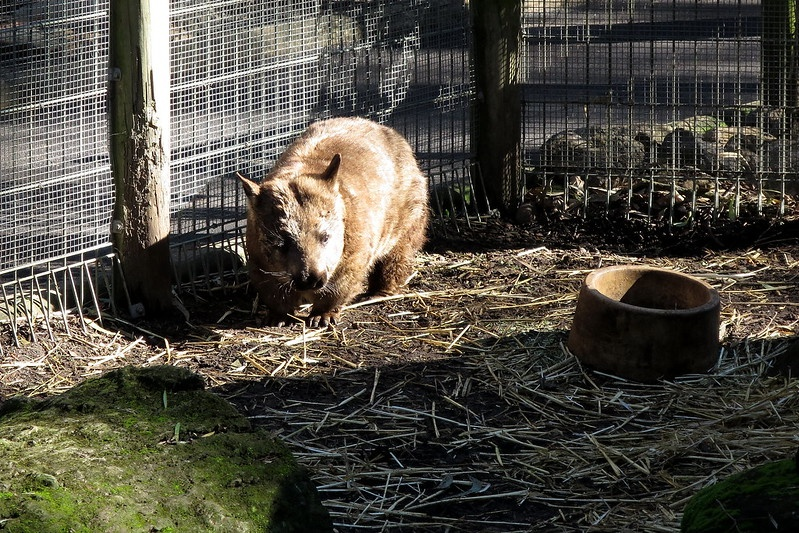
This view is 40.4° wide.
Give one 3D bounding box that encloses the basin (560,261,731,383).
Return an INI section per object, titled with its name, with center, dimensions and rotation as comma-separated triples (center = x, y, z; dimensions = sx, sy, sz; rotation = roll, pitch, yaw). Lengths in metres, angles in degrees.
[basin]
center = 1.698, 0.340, 7.346
dimensions = 1.101, 0.397, 0.959
rotation = 5, 23, 4
